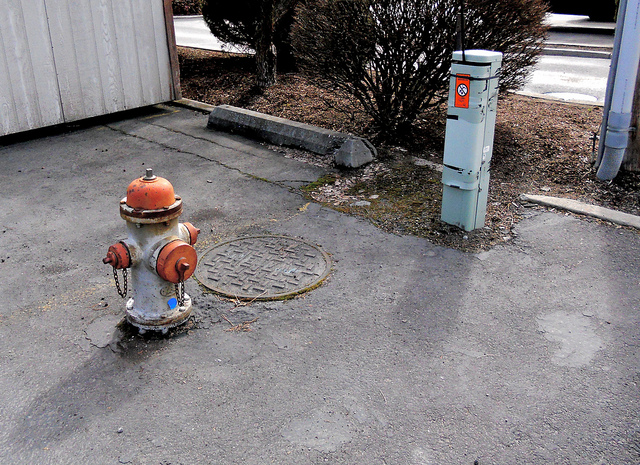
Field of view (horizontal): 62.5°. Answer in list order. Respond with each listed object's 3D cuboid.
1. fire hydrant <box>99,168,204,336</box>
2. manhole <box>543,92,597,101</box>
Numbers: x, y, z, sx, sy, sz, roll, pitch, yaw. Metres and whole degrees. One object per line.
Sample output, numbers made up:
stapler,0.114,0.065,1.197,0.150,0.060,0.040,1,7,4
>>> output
fire hydrant,-1.610,0.194,5.069,1.037,1.540,0.676,-19,35,-31
manhole,5.892,-3.207,12.385,1.091,0.074,0.966,9,29,15
